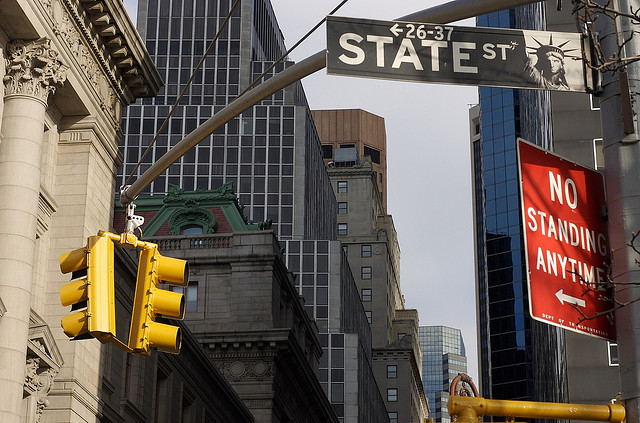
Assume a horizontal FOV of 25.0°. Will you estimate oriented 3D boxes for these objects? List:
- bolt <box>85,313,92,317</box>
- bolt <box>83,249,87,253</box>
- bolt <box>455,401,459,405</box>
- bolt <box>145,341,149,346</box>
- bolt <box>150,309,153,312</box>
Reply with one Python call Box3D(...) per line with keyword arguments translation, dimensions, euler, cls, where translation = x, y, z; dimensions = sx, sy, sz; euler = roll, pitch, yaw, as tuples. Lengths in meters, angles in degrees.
Box3D(translation=(-5.846, 2.578, 36.319), dimensions=(0.112, 0.050, 0.077), euler=(2, -2, 11), cls="bolt")
Box3D(translation=(-5.996, 0.980, 36.662), dimensions=(0.057, 0.077, 0.019), euler=(-1, 7, -6), cls="bolt")
Box3D(translation=(3.421, 4.746, 35.915), dimensions=(0.081, 0.079, 0.041), euler=(-1, -40, 3), cls="bolt")
Box3D(translation=(-4.391, 3.316, 36.507), dimensions=(0.082, 0.074, 0.042), euler=(0, -34, -1), cls="bolt")
Box3D(translation=(-4.294, 2.481, 36.631), dimensions=(0.068, 0.065, 0.121), euler=(0, -6, -6), cls="bolt")
